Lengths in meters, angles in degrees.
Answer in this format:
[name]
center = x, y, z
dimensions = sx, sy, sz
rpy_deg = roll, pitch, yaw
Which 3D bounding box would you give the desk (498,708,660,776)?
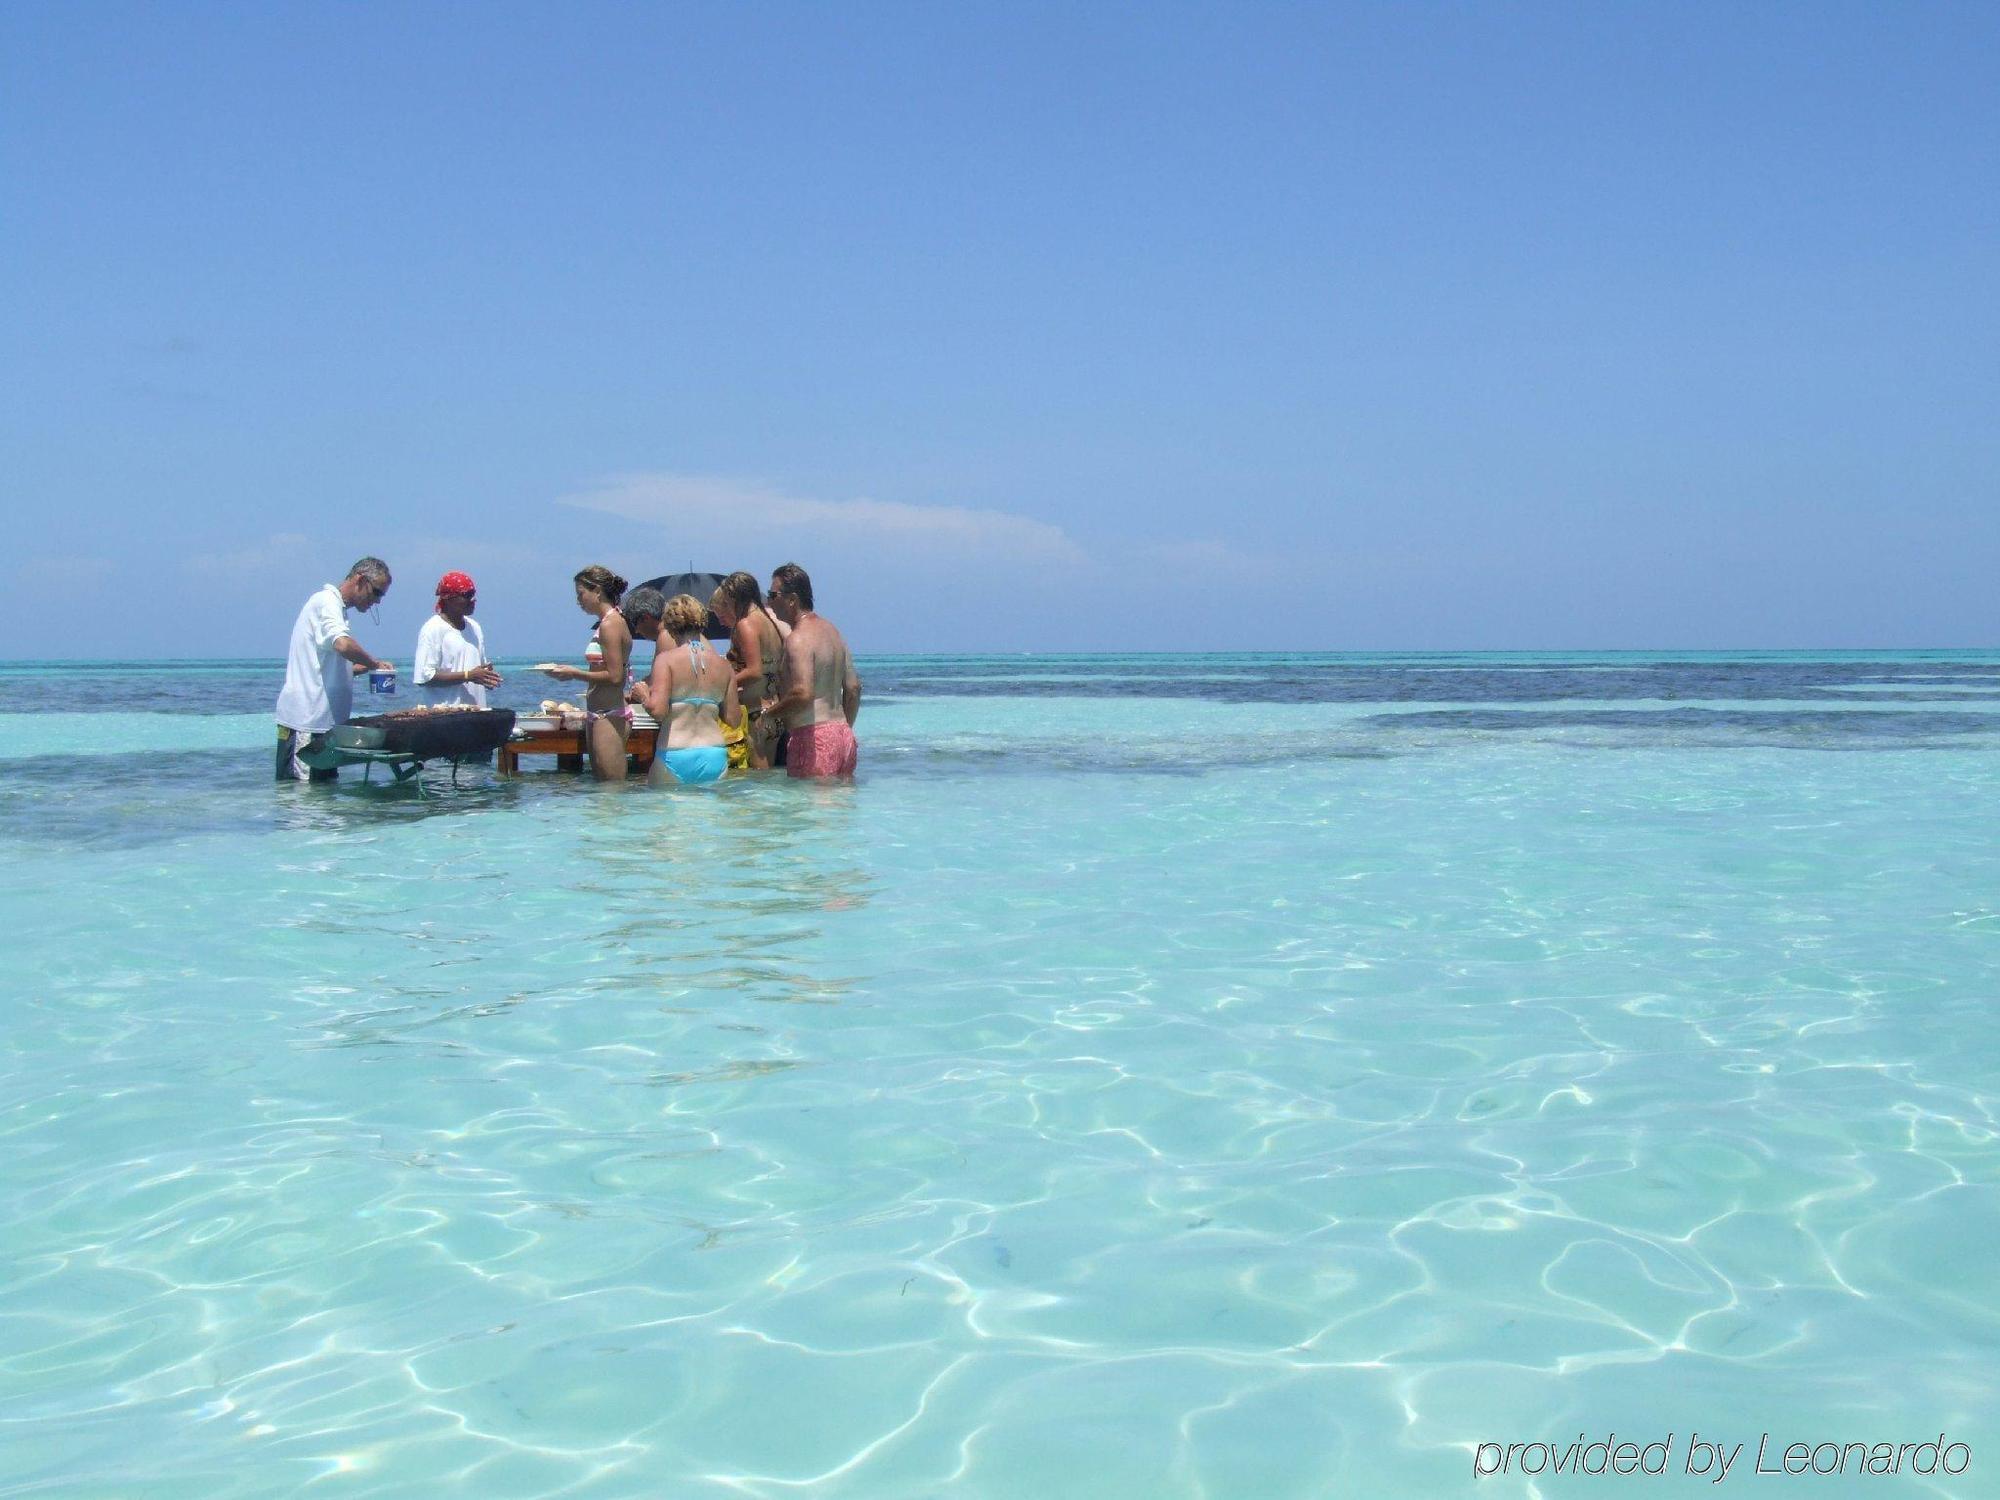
[desk]
center = -4.320, -0.083, 18.627
dimensions = 1.137, 0.551, 1.357
rpy_deg = -1, 5, -4

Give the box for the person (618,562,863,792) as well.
[person]
center = -1.965, -0.756, 17.511
dimensions = 1.060, 2.254, 1.560
rpy_deg = -8, 18, -25
